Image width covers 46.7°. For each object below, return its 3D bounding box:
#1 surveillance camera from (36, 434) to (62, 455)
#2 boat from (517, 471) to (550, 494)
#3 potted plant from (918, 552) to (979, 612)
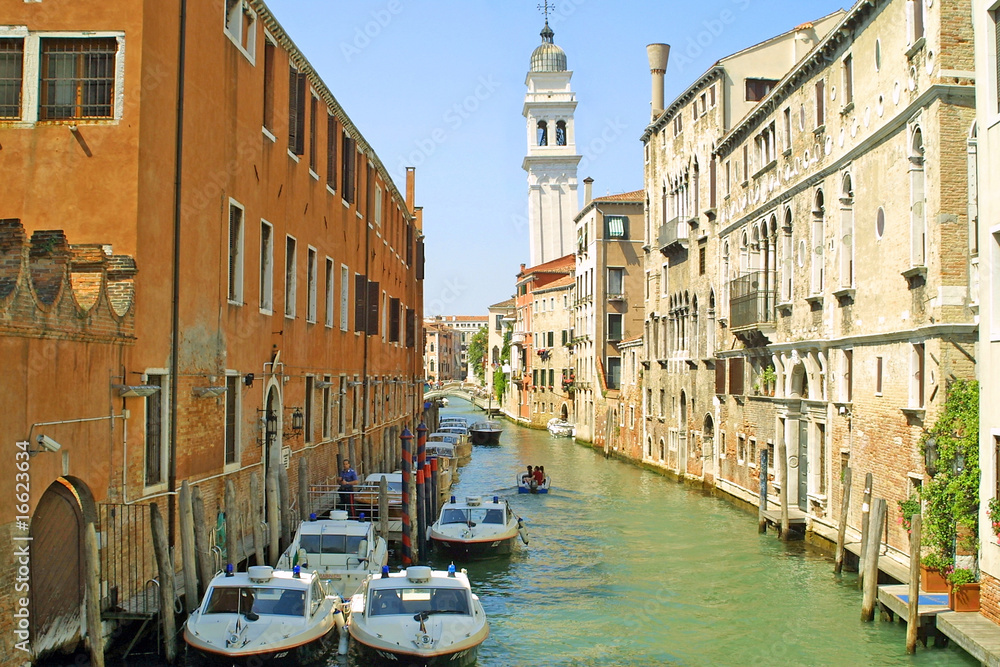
[{"bbox_3d":[-9.640,2.358,24.942,0.331,0.413,0.589,3,-1,1],"label":"surveillance camera"},{"bbox_3d":[1.441,6.797,52.484,1.607,0.662,1.154,3,-2,15],"label":"boat"},{"bbox_3d":[10.931,6.062,28.290,0.684,0.827,1.734,3,-2,-7],"label":"potted plant"}]
